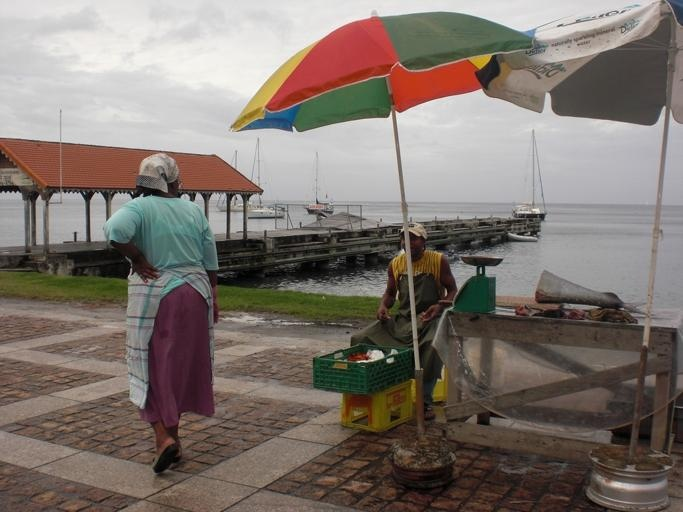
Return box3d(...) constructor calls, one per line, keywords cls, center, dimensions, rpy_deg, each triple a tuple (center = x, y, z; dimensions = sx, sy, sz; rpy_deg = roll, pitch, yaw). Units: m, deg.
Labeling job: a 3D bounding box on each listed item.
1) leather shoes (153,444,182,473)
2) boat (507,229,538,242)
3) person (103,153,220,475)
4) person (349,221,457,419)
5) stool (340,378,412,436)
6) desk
box3d(cls="leather shoes", center=(-1.434, 1.700, 5.276), dimensions=(0.120, 0.289, 0.111), rpy_deg=(29, 21, -42))
box3d(cls="boat", center=(18.019, -1.904, 63.425), dimensions=(2.899, 0.892, 1.437), rpy_deg=(1, 5, 3))
box3d(cls="person", center=(-1.445, 0.469, 5.440), dimensions=(0.674, 2.668, 0.818), rpy_deg=(5, 10, 30))
box3d(cls="person", center=(0.657, 0.594, 6.693), dimensions=(0.889, 1.992, 1.019), rpy_deg=(1, 1, 28))
box3d(cls="stool", center=(0.316, 1.490, 6.292), dimensions=(0.538, 0.351, 0.724), rpy_deg=(-4, -3, 40))
box3d(cls="desk", center=(1.709, 1.107, 5.301), dimensions=(2.061, 1.196, 1.645), rpy_deg=(9, 6, 32))
